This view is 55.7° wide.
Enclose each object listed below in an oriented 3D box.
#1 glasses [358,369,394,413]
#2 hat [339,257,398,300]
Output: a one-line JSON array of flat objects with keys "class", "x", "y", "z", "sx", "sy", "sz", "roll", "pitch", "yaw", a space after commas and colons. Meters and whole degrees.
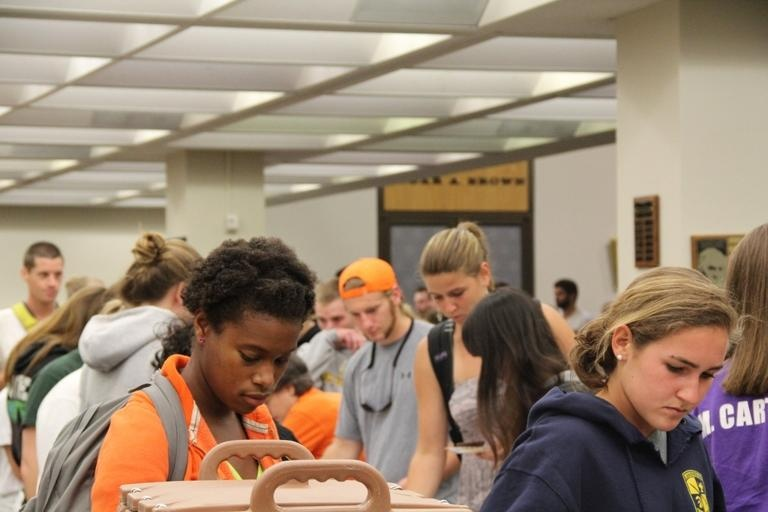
[{"class": "glasses", "x": -0.062, "y": 0.866, "z": 4.628, "sx": 0.176, "sy": 0.239, "sz": 0.086, "roll": -3, "pitch": -12, "yaw": 23}, {"class": "hat", "x": -0.091, "y": 0.152, "z": 5.120, "sx": 0.369, "sy": 0.213, "sz": 0.263, "roll": -6, "pitch": 2, "yaw": -37}]
